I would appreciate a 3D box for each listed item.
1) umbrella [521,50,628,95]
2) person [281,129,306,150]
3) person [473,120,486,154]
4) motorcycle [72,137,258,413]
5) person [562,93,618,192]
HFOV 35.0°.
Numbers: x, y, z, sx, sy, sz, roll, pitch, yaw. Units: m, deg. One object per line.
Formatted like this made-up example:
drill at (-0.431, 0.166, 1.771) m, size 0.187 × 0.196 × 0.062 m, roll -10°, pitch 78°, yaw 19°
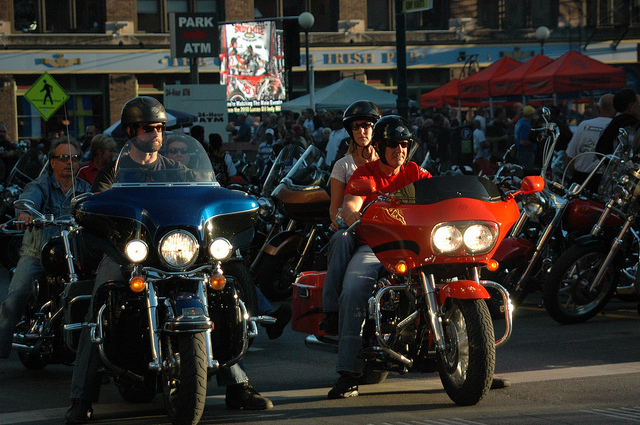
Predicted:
umbrella at (5.871, -3.225, 23.899) m, size 1.465 × 0.708 × 1.480 m, roll -1°, pitch -1°, yaw -15°
person at (-0.561, -1.732, 23.441) m, size 0.520 × 0.577 × 1.007 m, roll -3°, pitch 6°, yaw -1°
person at (3.887, -1.867, 24.655) m, size 0.280 × 0.768 × 1.143 m, roll -1°, pitch 8°, yaw 9°
motorcycle at (-1.460, 0.635, 10.217) m, size 1.590 × 2.631 × 1.059 m, roll -1°, pitch 8°, yaw 4°
person at (3.875, -1.068, 15.060) m, size 0.980 × 1.040 × 1.572 m, roll 3°, pitch 5°, yaw 17°
